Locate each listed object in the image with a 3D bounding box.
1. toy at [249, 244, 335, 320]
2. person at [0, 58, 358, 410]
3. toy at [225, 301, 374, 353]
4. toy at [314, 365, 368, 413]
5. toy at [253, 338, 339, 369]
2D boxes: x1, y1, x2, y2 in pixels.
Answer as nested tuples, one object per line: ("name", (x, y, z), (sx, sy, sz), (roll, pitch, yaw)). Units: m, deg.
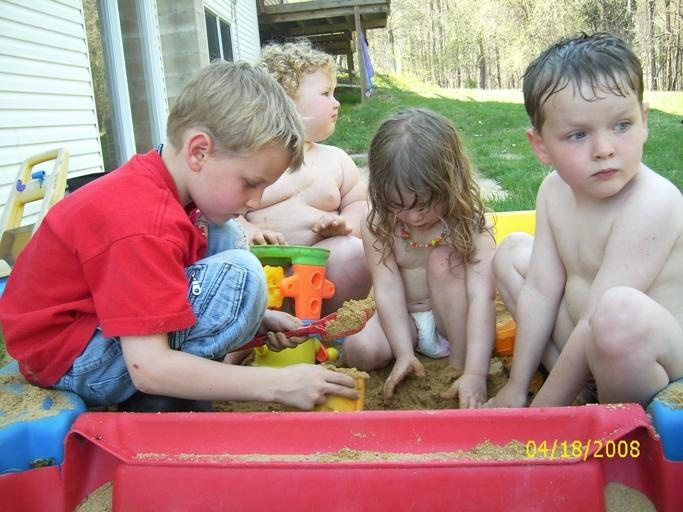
("toy", (-0.188, 0.104, 2.257), (0.300, 0.231, 0.285), (-1, -6, 6))
("person", (-0.402, -0.143, 2.027), (1.056, 1.060, 0.965), (7, 6, -14))
("toy", (-0.142, 0.237, 2.087), (0.472, 0.096, 0.185), (-21, 3, 7))
("toy", (0.001, 0.389, 1.728), (0.145, 0.143, 0.126), (0, -4, 2))
("toy", (-0.148, 0.357, 2.197), (0.144, 0.133, 0.192), (-11, -24, 42))
